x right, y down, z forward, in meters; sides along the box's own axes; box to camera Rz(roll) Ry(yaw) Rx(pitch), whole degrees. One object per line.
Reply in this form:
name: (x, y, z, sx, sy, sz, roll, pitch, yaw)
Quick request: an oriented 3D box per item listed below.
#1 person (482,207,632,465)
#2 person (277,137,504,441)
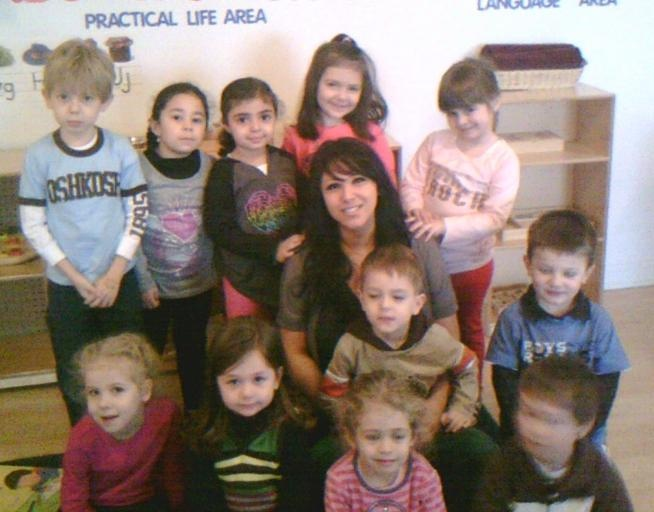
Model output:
person: (0.703, 0.416, 2.018, 0.432, 1.046, 0.375, 3, 12, 21)
person: (0.117, 0.303, 2.137, 0.573, 1.329, 0.406, -9, 19, -8)
